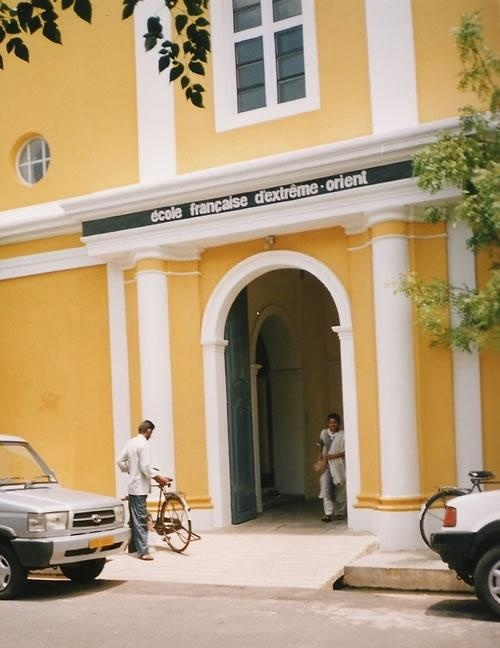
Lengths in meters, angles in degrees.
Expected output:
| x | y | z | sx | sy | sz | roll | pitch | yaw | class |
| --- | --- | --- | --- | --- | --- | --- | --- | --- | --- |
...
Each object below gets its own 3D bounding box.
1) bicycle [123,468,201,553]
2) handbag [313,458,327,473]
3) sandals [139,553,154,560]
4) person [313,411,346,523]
| x | y | z | sx | sy | sz | roll | pitch | yaw | class |
| --- | --- | --- | --- | --- | --- | --- | --- | --- | --- |
| -0.864 | 2.310 | 13.075 | 0.647 | 0.776 | 1.323 | -5 | 4 | -32 | bicycle |
| 0.965 | 1.933 | 14.661 | 0.165 | 0.201 | 0.262 | -4 | -6 | 3 | handbag |
| -1.163 | 2.654 | 12.262 | 0.140 | 0.132 | 0.071 | -1 | -14 | 10 | sandals |
| 1.093 | 1.954 | 14.657 | 0.417 | 1.457 | 0.648 | -4 | -6 | 2 | person |
